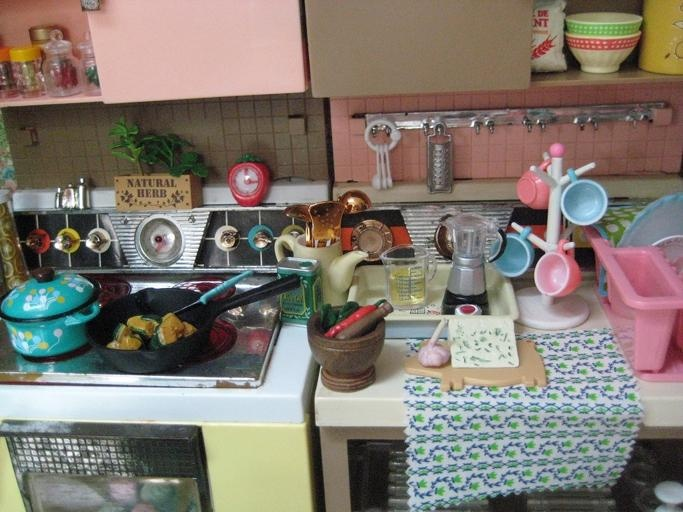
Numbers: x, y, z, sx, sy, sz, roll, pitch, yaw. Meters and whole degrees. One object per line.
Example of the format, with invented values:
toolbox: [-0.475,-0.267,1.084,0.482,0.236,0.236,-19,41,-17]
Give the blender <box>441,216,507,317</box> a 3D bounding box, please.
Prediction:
blender: [0.438,0.014,1.861,0.199,0.300,0.397,0,20,13]

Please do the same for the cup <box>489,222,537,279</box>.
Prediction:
cup: [0.575,-0.021,1.834,0.126,0.161,0.084,28,23,23]

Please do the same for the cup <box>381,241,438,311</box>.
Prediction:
cup: [0.216,0.077,1.831,0.151,0.193,0.137,-4,20,1]

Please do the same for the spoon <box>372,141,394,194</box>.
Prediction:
spoon: [0.143,-0.317,2.006,0.072,0.159,0.058,-3,21,3]

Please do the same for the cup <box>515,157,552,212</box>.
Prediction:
cup: [0.599,-0.203,1.725,0.085,0.132,0.113,-3,20,4]

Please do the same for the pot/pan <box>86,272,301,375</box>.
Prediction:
pot/pan: [-0.468,0.192,1.711,0.496,0.066,0.324,-13,22,-26]

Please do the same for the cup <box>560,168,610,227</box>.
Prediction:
cup: [0.717,-0.177,1.658,0.133,0.158,0.070,-19,1,33]

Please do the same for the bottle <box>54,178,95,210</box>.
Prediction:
bottle: [-1.027,-0.236,2.168,0.143,0.121,0.051,1,3,1]

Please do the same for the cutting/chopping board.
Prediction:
cutting/chopping board: [0.380,0.312,1.599,0.396,0.051,0.182,-3,19,1]

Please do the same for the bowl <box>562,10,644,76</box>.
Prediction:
bowl: [0.772,-0.633,1.665,0.225,0.144,0.215,-1,11,0]

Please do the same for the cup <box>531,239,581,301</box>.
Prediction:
cup: [0.649,0.042,1.661,0.109,0.173,0.098,-15,23,-26]
